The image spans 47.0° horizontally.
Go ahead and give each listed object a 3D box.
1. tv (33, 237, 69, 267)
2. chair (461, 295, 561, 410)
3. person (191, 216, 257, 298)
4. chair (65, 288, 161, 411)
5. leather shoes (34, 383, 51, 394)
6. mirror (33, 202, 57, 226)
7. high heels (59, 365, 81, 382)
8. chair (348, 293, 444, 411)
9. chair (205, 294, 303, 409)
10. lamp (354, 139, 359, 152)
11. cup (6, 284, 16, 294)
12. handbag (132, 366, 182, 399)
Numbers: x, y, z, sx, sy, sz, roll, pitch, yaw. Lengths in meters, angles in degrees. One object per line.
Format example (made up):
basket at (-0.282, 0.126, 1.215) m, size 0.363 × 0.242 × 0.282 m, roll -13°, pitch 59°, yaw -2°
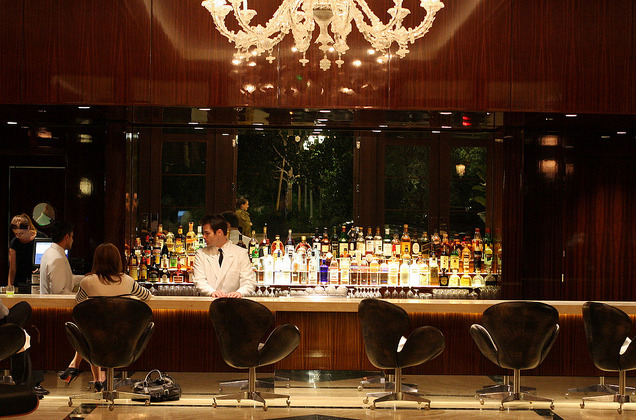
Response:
tv at (-3.713, 0.653, 10.066) m, size 0.415 × 0.434 × 0.226 m, roll 4°, pitch -24°, yaw -23°
chair at (2.312, 1.687, 8.806) m, size 1.130 × 1.379 × 1.157 m, roll 0°, pitch -6°, yaw 1°
person at (-1.230, 0.802, 9.280) m, size 0.676 × 1.415 × 0.734 m, roll -1°, pitch -4°, yaw -2°
chair at (-2.374, 1.635, 8.436) m, size 0.995 × 1.290 × 0.688 m, roll 1°, pitch -2°, yaw -1°
leather shoes at (-3.318, 2.198, 8.919) m, size 0.277 × 0.125 × 0.096 m, roll 1°, pitch 1°, yaw 4°
mirror at (-4.112, 0.079, 11.037) m, size 0.269 × 0.303 × 0.085 m, roll 13°, pitch 1°, yaw 15°
high heels at (-3.088, 2.063, 9.111) m, size 0.115 × 0.158 × 0.345 m, roll 0°, pitch 2°, yaw -34°
chair at (0.925, 1.683, 8.693) m, size 0.960 × 1.285 × 0.796 m, roll 1°, pitch -2°, yaw -2°
chair at (-0.826, 1.695, 8.672) m, size 1.043 × 1.344 × 0.942 m, roll -6°, pitch -5°, yaw 42°
lamp at (0.559, -0.928, 10.465) m, size 0.088 × 0.185 × 0.026 m, roll 0°, pitch -2°, yaw 6°
cup at (-3.837, 1.013, 9.106) m, size 0.122 × 0.145 × 0.130 m, roll -1°, pitch -5°, yaw 0°
handbag at (-1.919, 2.136, 8.822) m, size 0.405 × 0.237 × 0.395 m, roll 0°, pitch 2°, yaw -20°
